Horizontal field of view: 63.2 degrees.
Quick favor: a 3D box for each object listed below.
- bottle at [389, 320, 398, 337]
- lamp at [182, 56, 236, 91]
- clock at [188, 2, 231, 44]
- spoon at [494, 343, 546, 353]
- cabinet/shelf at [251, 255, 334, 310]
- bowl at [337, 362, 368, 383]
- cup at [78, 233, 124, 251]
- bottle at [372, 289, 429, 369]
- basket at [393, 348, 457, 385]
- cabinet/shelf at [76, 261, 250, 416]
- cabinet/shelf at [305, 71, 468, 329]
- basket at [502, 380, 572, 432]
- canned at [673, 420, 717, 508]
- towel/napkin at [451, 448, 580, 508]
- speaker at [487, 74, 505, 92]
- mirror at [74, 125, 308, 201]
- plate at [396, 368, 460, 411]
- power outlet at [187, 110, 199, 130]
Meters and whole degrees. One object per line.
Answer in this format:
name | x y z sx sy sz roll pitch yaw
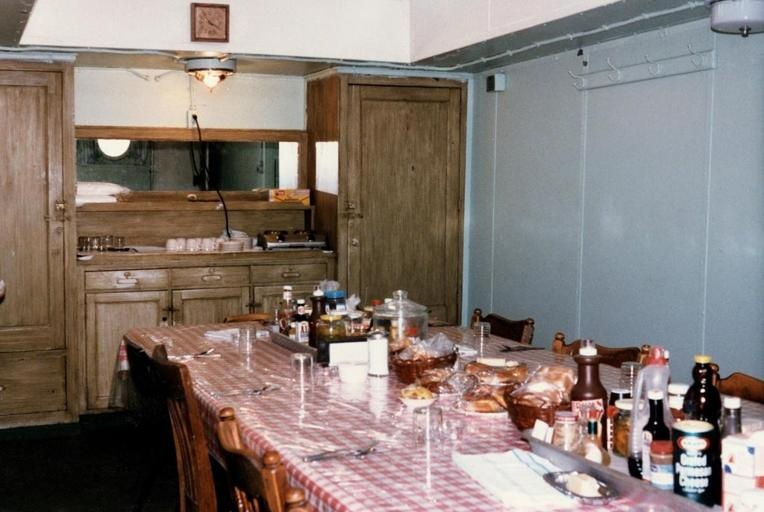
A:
bottle | 0.067 0.365 3.134 0.074 0.072 0.070 1 -4 -6
lamp | -1.476 -1.582 5.353 0.446 0.241 0.434 -9 16 -33
clock | -1.379 -1.854 4.914 0.378 0.333 0.041 0 4 -18
spoon | 0.811 0.525 3.545 0.368 0.019 0.087 0 7 -23
cabinet/shelf | -0.806 0.329 5.862 0.793 0.678 0.284 -2 19 6
bowl | -0.129 0.534 2.833 0.110 0.061 0.105 0 0 0
cup | -2.559 -0.126 5.663 0.324 0.111 0.189 -1 1 -20
bottle | 0.092 0.352 3.295 0.326 0.332 0.307 0 8 -17
basket | 0.180 0.525 2.990 0.370 0.111 0.359 -5 -9 22
cabinet/shelf | -1.834 0.693 5.522 1.565 1.192 0.508 -3 -19 -10
cabinet/shelf | 0.170 -0.556 6.468 1.662 2.239 1.654 -9 17 -31
basket | 0.613 0.565 2.395 0.292 0.154 0.361 -2 -4 10
canned | 0.872 0.573 1.713 0.128 0.216 0.080 2 7 18
towel/napkin | 0.427 0.685 1.922 0.275 0.039 0.370 -3 7 -22
speaker | 1.027 -1.562 5.600 0.106 0.169 0.220 -3 7 -20
mirror | -1.648 -0.827 5.573 3.201 0.784 0.148 5 17 36
plate | 0.183 0.550 2.577 0.169 0.045 0.144 -23 13 -36
power outlet | -1.801 -1.305 5.904 0.109 0.163 0.027 -1 7 -6
